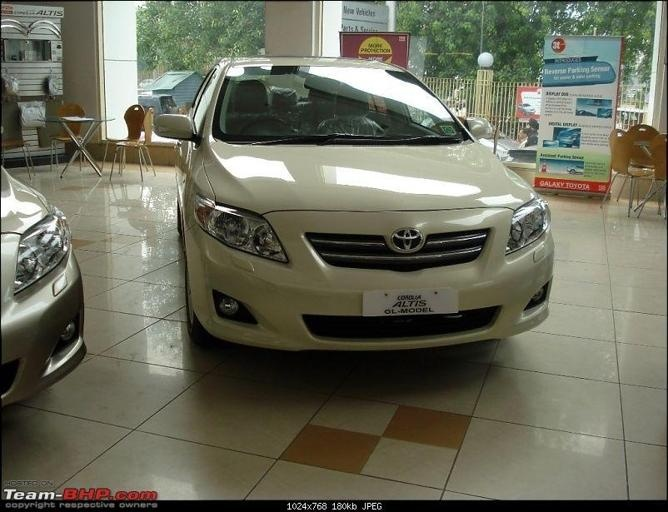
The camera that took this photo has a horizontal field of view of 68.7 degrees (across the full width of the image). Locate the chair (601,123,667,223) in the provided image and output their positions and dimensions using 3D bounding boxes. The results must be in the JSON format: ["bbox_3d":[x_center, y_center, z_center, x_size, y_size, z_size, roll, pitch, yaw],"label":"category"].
[{"bbox_3d":[4.082,-1.176,6.559,0.808,1.078,1.391,11,22,28],"label":"chair"}]

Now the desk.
[{"bbox_3d":[-4.872,-1.852,9.137,1.472,1.254,1.575,-2,21,-15],"label":"desk"}]

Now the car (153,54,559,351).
[{"bbox_3d":[-0.045,-0.626,2.963,1.346,1.055,2.330,-2,14,-14],"label":"car"}]
